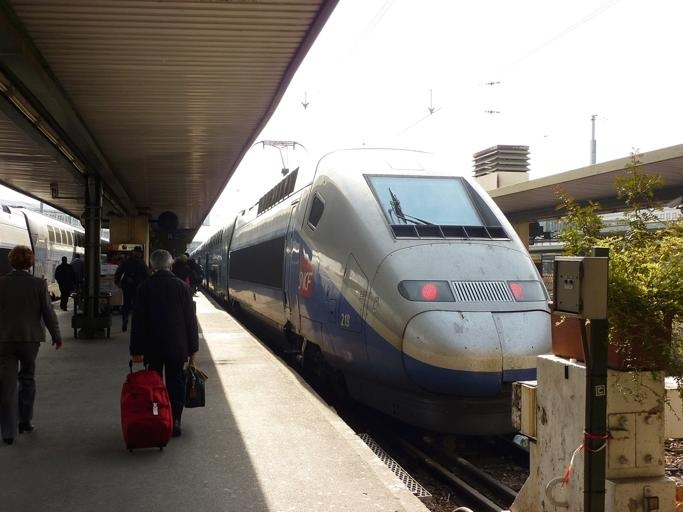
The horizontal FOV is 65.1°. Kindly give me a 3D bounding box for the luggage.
[{"bbox_3d":[-1.674,1.350,4.587,0.399,0.490,0.269,-4,3,-21],"label":"luggage"}]
